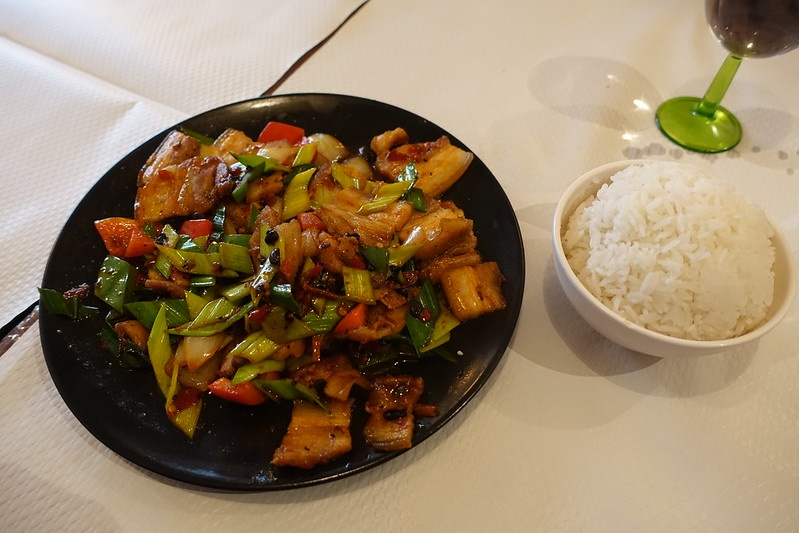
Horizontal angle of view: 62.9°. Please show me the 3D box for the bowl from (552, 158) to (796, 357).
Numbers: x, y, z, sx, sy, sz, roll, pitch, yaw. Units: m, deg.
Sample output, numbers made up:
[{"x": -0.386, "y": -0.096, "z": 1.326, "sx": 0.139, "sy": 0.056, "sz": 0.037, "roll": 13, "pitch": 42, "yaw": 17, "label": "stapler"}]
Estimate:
[{"x": 1.282, "y": -0.051, "z": 3.143, "sx": 1.120, "sy": 0.313, "sz": 0.910, "roll": 31, "pitch": 66, "yaw": 15, "label": "bowl"}]

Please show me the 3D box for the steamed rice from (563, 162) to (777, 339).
[{"x": 1.310, "y": -0.052, "z": 3.071, "sx": 0.820, "sy": 0.365, "sz": 0.844, "roll": 0, "pitch": 61, "yaw": 5, "label": "steamed rice"}]

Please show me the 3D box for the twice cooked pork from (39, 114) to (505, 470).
[{"x": -0.596, "y": 0.180, "z": 3.180, "sx": 1.594, "sy": 0.919, "sz": 1.404, "roll": -11, "pitch": 31, "yaw": -14, "label": "twice cooked pork"}]
